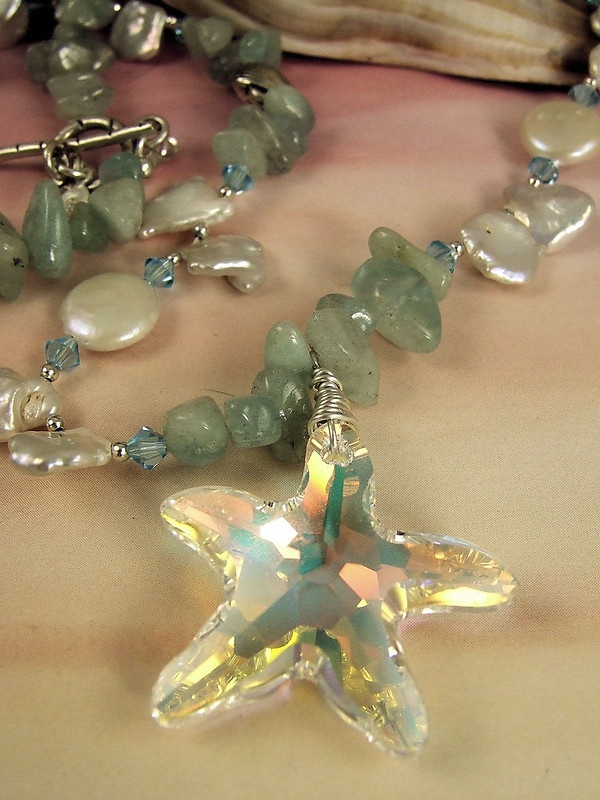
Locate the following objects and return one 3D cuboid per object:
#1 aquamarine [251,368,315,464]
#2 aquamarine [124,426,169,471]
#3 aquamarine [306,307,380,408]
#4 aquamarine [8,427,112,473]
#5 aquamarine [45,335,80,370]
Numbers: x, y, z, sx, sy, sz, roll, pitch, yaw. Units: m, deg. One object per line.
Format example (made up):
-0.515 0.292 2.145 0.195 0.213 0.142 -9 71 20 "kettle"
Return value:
-0.013 0.022 0.985 0.089 0.029 0.105 1 78 -13 "aquamarine"
-0.179 0.056 0.948 0.060 0.034 0.044 -13 99 -26 "aquamarine"
0.053 -0.054 1.003 0.031 0.092 0.117 -20 86 -53 "aquamarine"
-0.268 0.053 0.908 0.091 0.028 0.050 -3 34 -31 "aquamarine"
-0.292 -0.056 1.001 0.033 0.043 0.024 -24 91 -17 "aquamarine"
